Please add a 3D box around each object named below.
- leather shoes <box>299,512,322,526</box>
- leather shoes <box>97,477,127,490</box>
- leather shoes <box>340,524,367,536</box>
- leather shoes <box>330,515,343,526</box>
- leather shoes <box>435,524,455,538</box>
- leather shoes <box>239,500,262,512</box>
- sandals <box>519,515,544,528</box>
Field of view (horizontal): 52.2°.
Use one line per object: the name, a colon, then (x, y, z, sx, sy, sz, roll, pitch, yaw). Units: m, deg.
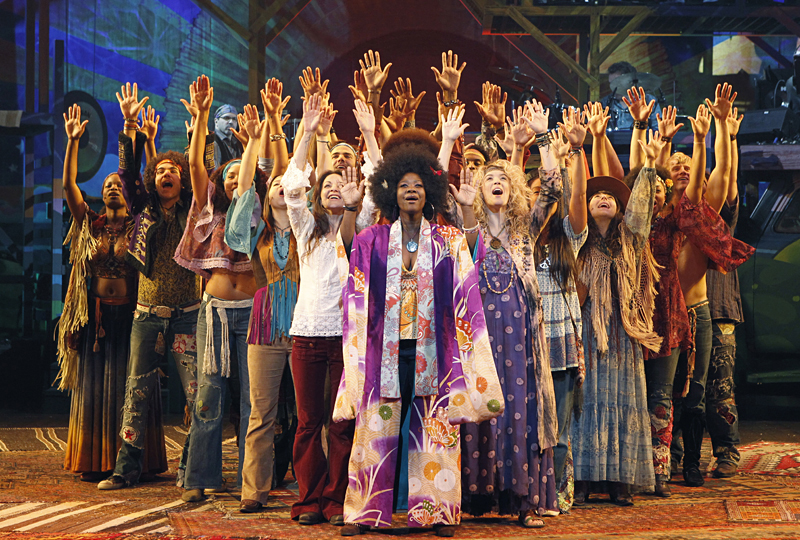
leather shoes: (-0.711, 1.995, 6.519, 0.201, 0.090, 0.075, 4, -4, -9)
leather shoes: (-2.570, 1.938, 7.403, 0.292, 0.114, 0.103, 6, -6, -24)
leather shoes: (-0.355, 2.013, 6.321, 0.197, 0.078, 0.072, 5, -4, -29)
leather shoes: (-0.497, 1.996, 6.492, 0.125, 0.072, 0.034, -2, -11, 18)
leather shoes: (0.352, 2.024, 6.351, 0.123, 0.080, 0.088, 2, -5, -2)
leather shoes: (-1.226, 1.981, 6.823, 0.185, 0.077, 0.077, 14, -12, -31)
sandals: (1.058, 2.018, 6.520, 0.092, 0.069, 0.162, 5, -11, -30)
